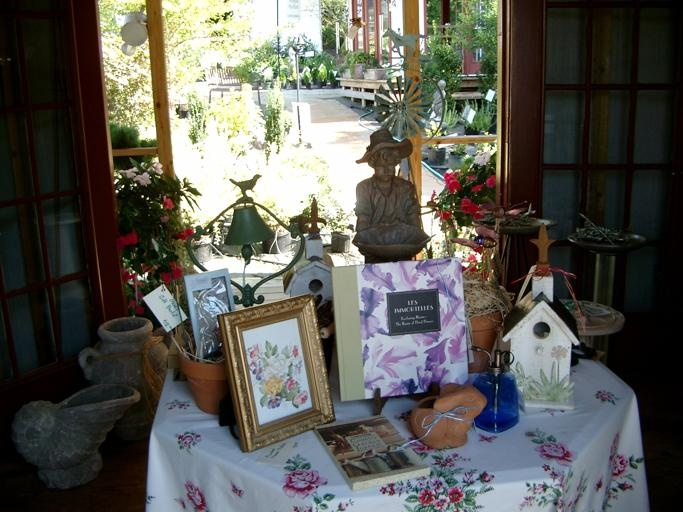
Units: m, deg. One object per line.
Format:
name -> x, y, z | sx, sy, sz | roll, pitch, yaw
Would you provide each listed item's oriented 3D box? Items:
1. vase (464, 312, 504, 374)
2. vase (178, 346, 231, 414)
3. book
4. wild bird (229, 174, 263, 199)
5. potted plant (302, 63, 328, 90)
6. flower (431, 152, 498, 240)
vase -> 0.471, 0.292, 1.897 | 0.175, 0.183, 0.169 | 1, 7, 15
vase -> -0.424, 0.401, 1.802 | 0.192, 0.166, 0.183 | -8, 14, -31
book -> 0.080, 0.563, 1.568 | 0.211, 0.071, 0.292 | -10, 14, -25
wild bird -> -0.322, -0.243, 1.875 | 0.081, 0.073, 0.208 | -6, 13, -9
potted plant -> -0.673, -4.490, 13.644 | 0.807, 0.571, 0.210 | 3, 15, 28
flower -> 0.886, -0.437, 3.991 | 0.458, 0.588, 1.033 | 0, 13, 15
